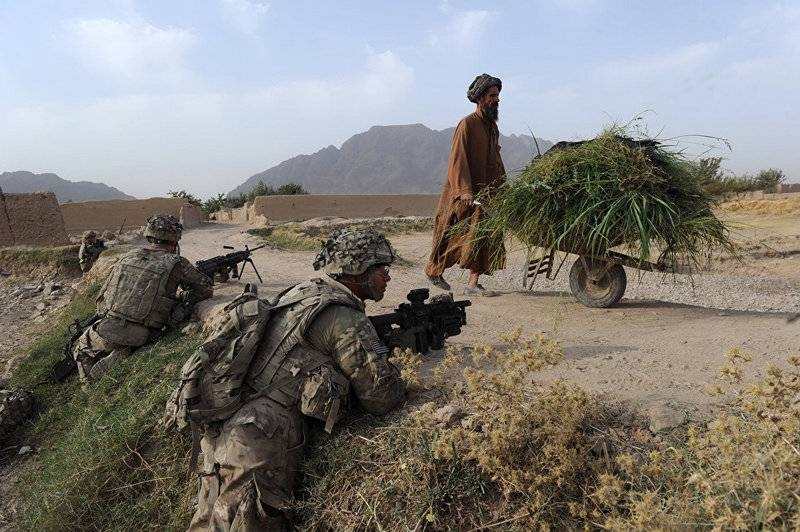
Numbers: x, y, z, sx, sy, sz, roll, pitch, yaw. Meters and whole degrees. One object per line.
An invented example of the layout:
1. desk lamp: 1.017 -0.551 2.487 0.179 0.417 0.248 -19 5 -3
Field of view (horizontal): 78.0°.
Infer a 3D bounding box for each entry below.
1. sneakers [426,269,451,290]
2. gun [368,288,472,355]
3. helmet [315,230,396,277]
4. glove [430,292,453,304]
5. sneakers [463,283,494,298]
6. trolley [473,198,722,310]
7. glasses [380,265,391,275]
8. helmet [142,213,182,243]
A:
1. sneakers: 0.609 0.231 7.688 0.262 0.196 0.370 14 -12 1
2. gun: 0.244 0.562 4.822 1.234 0.635 0.238 -5 -1 -43
3. helmet: -0.411 -0.132 4.392 0.564 0.304 0.406 -12 7 -12
4. glove: 0.417 0.328 4.954 0.200 0.134 0.072 -7 1 -14
5. sneakers: 1.206 0.374 7.546 0.446 0.184 0.181 -2 2 18
6. trolley: 2.966 -0.295 6.708 3.222 1.627 1.529 5 12 16
7. glasses: -0.138 0.028 4.473 0.073 0.090 0.046 -1 -8 -17
8. helmet: -3.366 -0.561 7.024 0.392 0.400 0.499 11 7 16
